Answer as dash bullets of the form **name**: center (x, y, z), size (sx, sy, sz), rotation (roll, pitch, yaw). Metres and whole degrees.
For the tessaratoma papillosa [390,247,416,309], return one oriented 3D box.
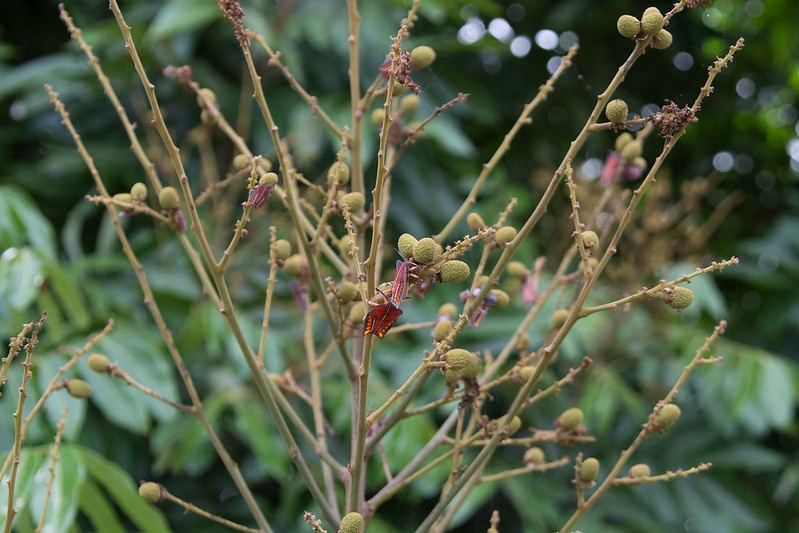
- **tessaratoma papillosa**: center (0.015, 0.049, 3.767), size (0.065, 0.191, 0.154), rotation (12, 11, -29)

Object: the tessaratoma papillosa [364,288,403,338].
- **tessaratoma papillosa**: center (-0.062, 0.210, 3.747), size (0.144, 0.057, 0.226), rotation (11, 46, 23)
